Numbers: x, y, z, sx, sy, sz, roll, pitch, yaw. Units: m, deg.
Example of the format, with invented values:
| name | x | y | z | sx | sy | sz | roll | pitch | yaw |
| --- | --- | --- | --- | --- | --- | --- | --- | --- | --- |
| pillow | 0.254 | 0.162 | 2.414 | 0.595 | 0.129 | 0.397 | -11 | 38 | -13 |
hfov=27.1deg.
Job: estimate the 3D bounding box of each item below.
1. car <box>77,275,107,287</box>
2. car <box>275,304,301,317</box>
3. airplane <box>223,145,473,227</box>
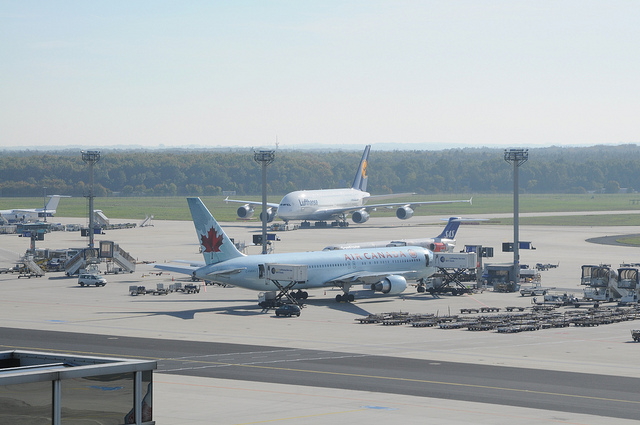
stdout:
| name | x | y | z | sx | sy | sz | roll | pitch | yaw |
| --- | --- | --- | --- | --- | --- | --- | --- | --- | --- |
| car | -23.769 | 7.119 | 138.647 | 2.433 | 0.695 | 1.256 | -1 | 3 | 7 |
| car | -2.735 | 8.865 | 120.184 | 1.803 | 0.622 | 1.067 | 1 | -1 | 19 |
| airplane | 1.198 | -3.253 | 214.435 | 45.729 | 9.600 | 33.190 | 0 | 4 | 18 |
